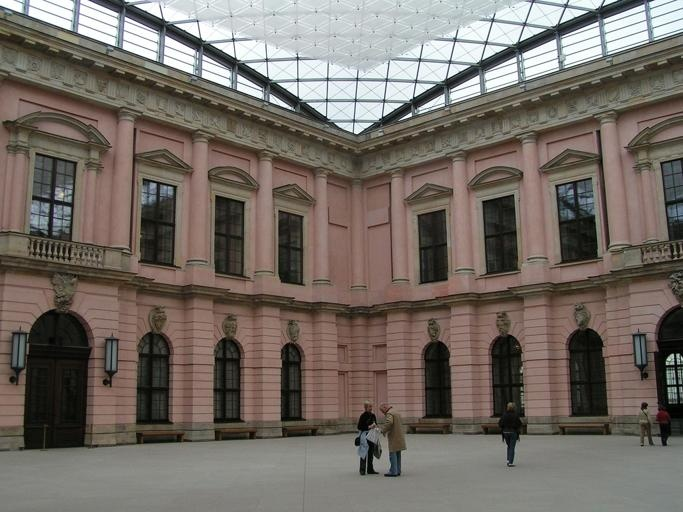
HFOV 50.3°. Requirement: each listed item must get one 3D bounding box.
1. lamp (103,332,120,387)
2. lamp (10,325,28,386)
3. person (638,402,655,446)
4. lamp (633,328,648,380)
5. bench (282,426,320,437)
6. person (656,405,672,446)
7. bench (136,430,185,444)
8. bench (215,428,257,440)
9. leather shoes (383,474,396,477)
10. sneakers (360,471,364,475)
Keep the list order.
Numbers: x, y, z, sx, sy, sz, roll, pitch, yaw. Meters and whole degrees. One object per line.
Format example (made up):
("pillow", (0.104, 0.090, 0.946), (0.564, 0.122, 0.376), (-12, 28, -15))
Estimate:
("lamp", (-9.198, 4.110, 28.830), (0.489, 1.900, 0.697), (3, -17, -19))
("lamp", (-11.891, 3.654, 26.589), (0.553, 1.941, 0.626), (5, -17, -25))
("person", (11.008, 6.041, 26.355), (0.480, 1.557, 3.393), (-8, -16, 21))
("lamp", (12.098, 3.950, 29.271), (0.615, 1.850, 0.736), (-8, -17, 20))
("bench", (-2.051, 8.454, 35.381), (2.016, 0.441, 0.541), (12, -21, -43))
("person", (11.571, 5.993, 26.076), (0.436, 1.480, 2.827), (-8, -17, 21))
("bench", (-7.722, 7.585, 30.741), (0.839, 0.513, 2.182), (-16, -20, 41))
("bench", (-4.894, 8.036, 33.098), (0.588, 0.472, 2.198), (-16, -21, 42))
("leather shoes", (1.289, 5.844, 19.478), (0.277, 0.104, 0.100), (1, -13, 19))
("sneakers", (0.547, 5.851, 19.727), (0.113, 0.103, 0.041), (-4, -12, 15))
